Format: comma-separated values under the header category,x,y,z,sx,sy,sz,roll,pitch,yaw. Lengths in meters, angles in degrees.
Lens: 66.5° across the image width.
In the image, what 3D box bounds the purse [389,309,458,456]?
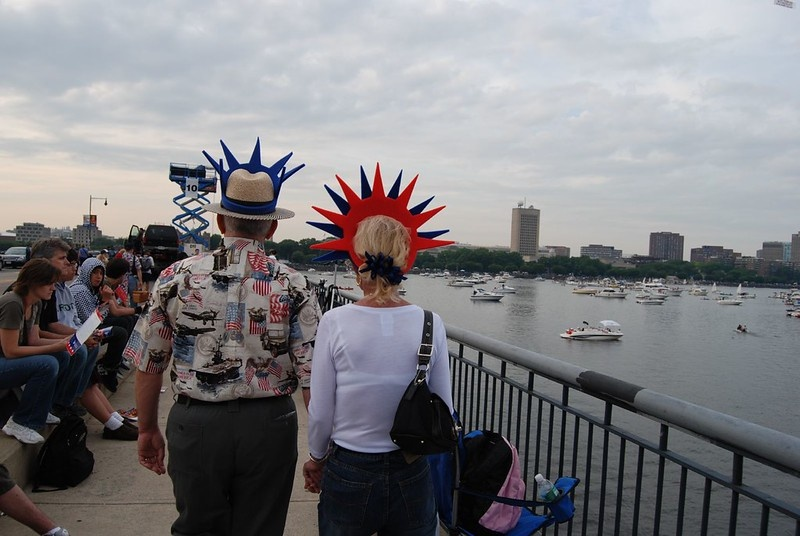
category,x,y,z,sx,sy,sz,roll,pitch,yaw
purse,0.177,0.702,3.729,0.331,0.850,0.348,2,3,33

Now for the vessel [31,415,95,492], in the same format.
category,x,y,z,sx,sy,sz,roll,pitch,yaw
vessel,-3.141,1.733,5.628,0.426,0.651,0.709,3,2,2

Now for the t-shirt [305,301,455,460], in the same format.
category,x,y,z,sx,sy,sz,roll,pitch,yaw
t-shirt,-0.133,0.722,3.788,1.102,1.064,0.607,1,6,-3

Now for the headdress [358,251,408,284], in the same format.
category,x,y,z,sx,sy,sz,roll,pitch,yaw
headdress,-0.114,0.001,3.879,0.296,0.202,0.093,1,2,-2
